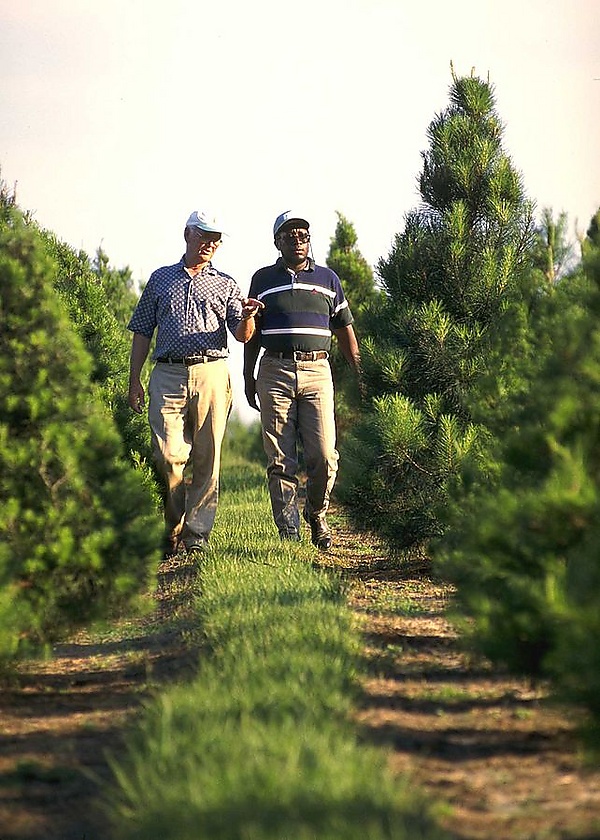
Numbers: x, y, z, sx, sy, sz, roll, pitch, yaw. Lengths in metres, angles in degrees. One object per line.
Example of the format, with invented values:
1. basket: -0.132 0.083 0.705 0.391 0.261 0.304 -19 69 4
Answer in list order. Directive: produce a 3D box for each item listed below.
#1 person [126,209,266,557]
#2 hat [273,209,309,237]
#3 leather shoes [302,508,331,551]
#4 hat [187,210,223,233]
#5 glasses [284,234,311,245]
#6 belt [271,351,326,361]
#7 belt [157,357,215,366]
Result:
1. person: -0.705 -0.209 6.171 0.635 2.082 0.539 3 3 16
2. hat: -0.071 -1.220 6.093 0.207 0.154 0.320 2 3 5
3. leather shoes: 0.099 0.717 6.835 0.120 0.155 0.359 -15 38 -5
4. hat: -0.548 -1.165 5.817 0.191 0.114 0.355 1 3 -15
5. glasses: -0.011 -1.116 6.111 0.160 0.077 0.080 0 4 -33
6. belt: -0.017 -0.399 6.193 0.377 0.069 0.204 2 3 -3
7. belt: -0.681 -0.354 5.965 0.336 0.064 0.104 2 3 -10
